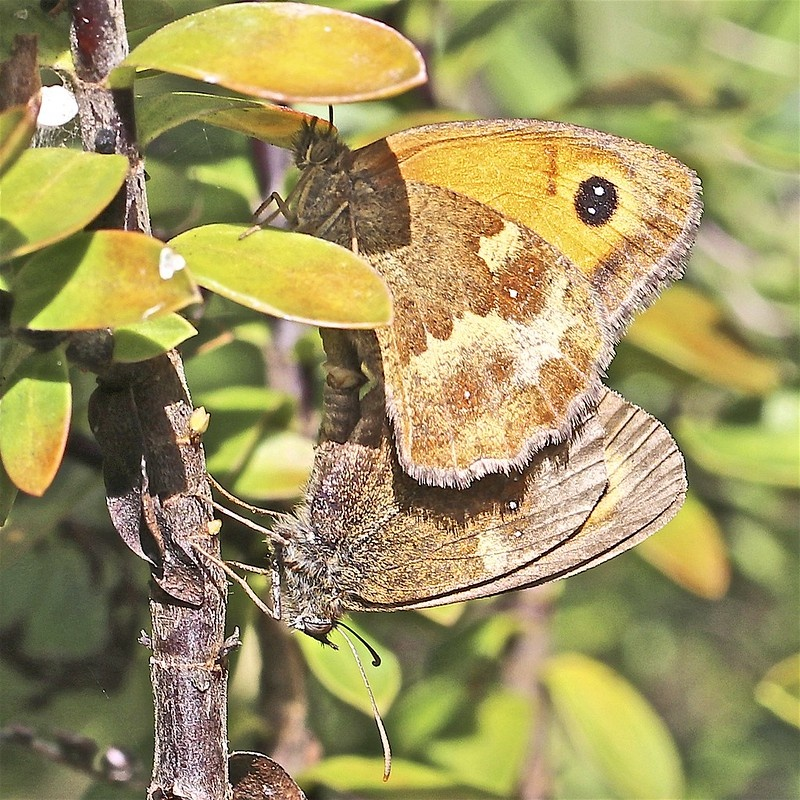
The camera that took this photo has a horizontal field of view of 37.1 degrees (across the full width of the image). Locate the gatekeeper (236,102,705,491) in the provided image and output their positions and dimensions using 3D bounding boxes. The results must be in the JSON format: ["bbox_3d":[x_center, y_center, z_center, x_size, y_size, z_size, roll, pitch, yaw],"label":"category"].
[{"bbox_3d":[0.094,-0.112,1.310,0.408,0.458,0.236,34,97,-9],"label":"gatekeeper"}]

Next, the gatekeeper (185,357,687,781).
[{"bbox_3d":[0.086,0.207,1.322,0.453,0.242,0.435,25,103,37],"label":"gatekeeper"}]
